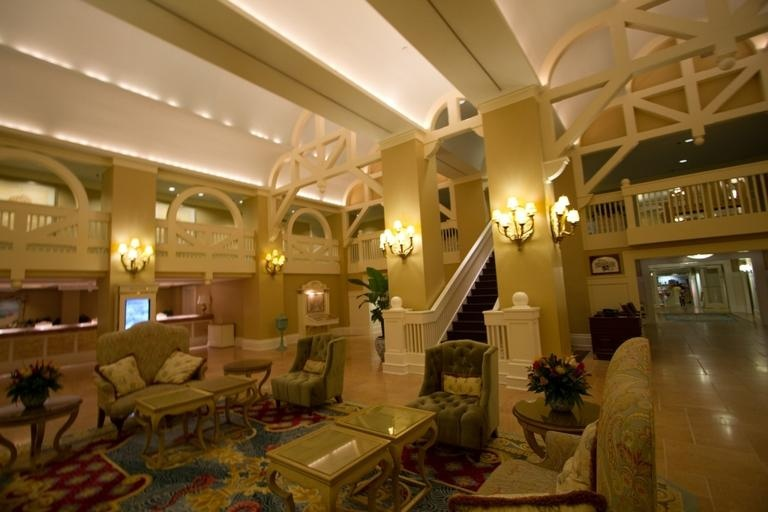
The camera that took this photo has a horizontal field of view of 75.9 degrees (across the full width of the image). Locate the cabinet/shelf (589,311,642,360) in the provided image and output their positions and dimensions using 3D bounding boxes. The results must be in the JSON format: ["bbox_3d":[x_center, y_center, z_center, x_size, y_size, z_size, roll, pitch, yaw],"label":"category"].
[{"bbox_3d":[4.730,1.609,10.115,1.207,1.173,0.848,-6,-8,38],"label":"cabinet/shelf"}]

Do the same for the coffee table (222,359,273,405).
[{"bbox_3d":[-2.648,2.367,9.819,0.954,0.712,0.897,-3,-6,15],"label":"coffee table"}]

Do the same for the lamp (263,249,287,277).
[{"bbox_3d":[-3.370,0.186,14.962,0.542,1.127,0.777,-8,-8,37],"label":"lamp"}]

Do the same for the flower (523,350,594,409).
[{"bbox_3d":[2.623,1.828,7.498,0.866,0.802,0.862,-1,0,-5],"label":"flower"}]

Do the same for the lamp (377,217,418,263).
[{"bbox_3d":[0.298,-0.369,11.234,0.851,0.907,0.248,-4,-6,31],"label":"lamp"}]

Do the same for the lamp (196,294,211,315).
[{"bbox_3d":[-5.990,1.537,16.150,0.448,0.633,0.276,-1,-5,-2],"label":"lamp"}]

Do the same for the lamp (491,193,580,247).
[{"bbox_3d":[3.122,-0.694,10.109,1.724,1.004,0.672,-1,-5,-12],"label":"lamp"}]

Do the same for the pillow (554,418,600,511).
[{"bbox_3d":[2.439,2.579,6.167,0.243,0.800,0.785,16,-15,4],"label":"pillow"}]

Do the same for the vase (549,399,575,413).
[{"bbox_3d":[2.619,2.196,7.265,0.245,0.103,0.244,-2,-9,4],"label":"vase"}]

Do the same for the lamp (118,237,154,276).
[{"bbox_3d":[-6.220,-0.014,12.205,0.351,1.041,0.901,-5,-5,28],"label":"lamp"}]

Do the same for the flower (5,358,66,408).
[{"bbox_3d":[-5.793,2.085,8.299,0.844,0.823,0.844,-3,-9,28],"label":"flower"}]
